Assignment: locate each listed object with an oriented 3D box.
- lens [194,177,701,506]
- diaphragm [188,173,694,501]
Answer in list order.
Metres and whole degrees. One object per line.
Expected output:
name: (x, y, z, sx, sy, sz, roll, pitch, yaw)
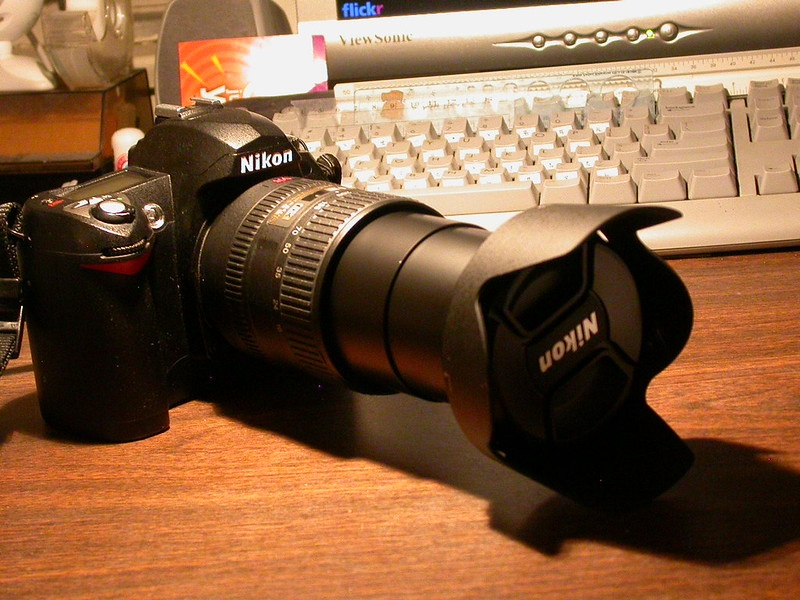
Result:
lens: (0.016, -0.010, 0.567, 0.348, 0.174, 0.162, 16, 25, 38)
diaphragm: (0.013, 0.003, 0.539, 0.399, 0.192, 0.179, 16, 28, 43)
